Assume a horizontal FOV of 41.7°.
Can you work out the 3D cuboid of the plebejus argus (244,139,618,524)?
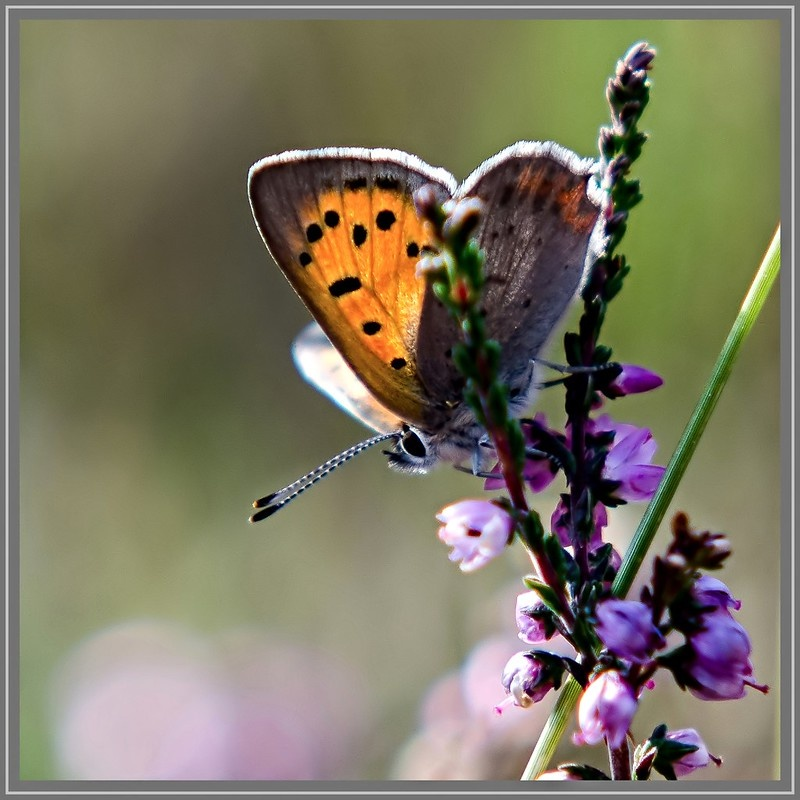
[{"bbox_3d":[0.087,-0.245,3.297,0.896,1.144,0.853,-1,-70,-2],"label":"plebejus argus"}]

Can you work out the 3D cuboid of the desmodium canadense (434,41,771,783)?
[{"bbox_3d":[0.261,0.206,2.525,1.242,0.656,2.022,-34,-53,-64],"label":"desmodium canadense"}]
